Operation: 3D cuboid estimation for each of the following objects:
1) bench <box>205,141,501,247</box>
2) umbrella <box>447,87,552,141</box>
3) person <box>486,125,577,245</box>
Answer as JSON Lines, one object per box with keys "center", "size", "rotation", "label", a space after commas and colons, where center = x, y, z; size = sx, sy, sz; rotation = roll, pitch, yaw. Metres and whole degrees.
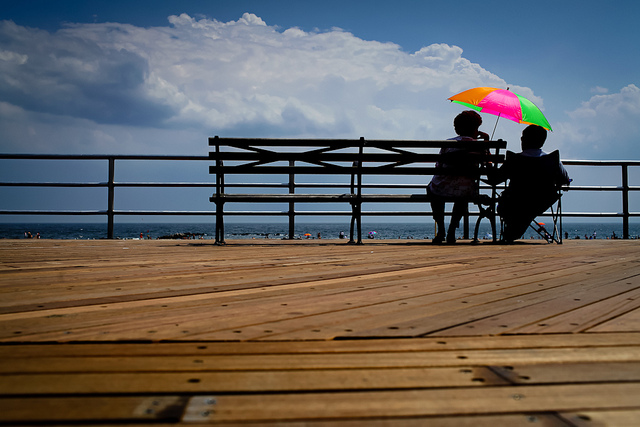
{"center": [0.326, -0.220, 5.747], "size": [2.529, 0.748, 0.590], "rotation": [0, 4, 0], "label": "bench"}
{"center": [1.825, -1.055, 6.550], "size": [0.594, 0.372, 1.058], "rotation": [-3, 11, -18], "label": "umbrella"}
{"center": [1.833, -0.214, 5.876], "size": [0.783, 1.055, 0.661], "rotation": [6, 6, 1], "label": "person"}
